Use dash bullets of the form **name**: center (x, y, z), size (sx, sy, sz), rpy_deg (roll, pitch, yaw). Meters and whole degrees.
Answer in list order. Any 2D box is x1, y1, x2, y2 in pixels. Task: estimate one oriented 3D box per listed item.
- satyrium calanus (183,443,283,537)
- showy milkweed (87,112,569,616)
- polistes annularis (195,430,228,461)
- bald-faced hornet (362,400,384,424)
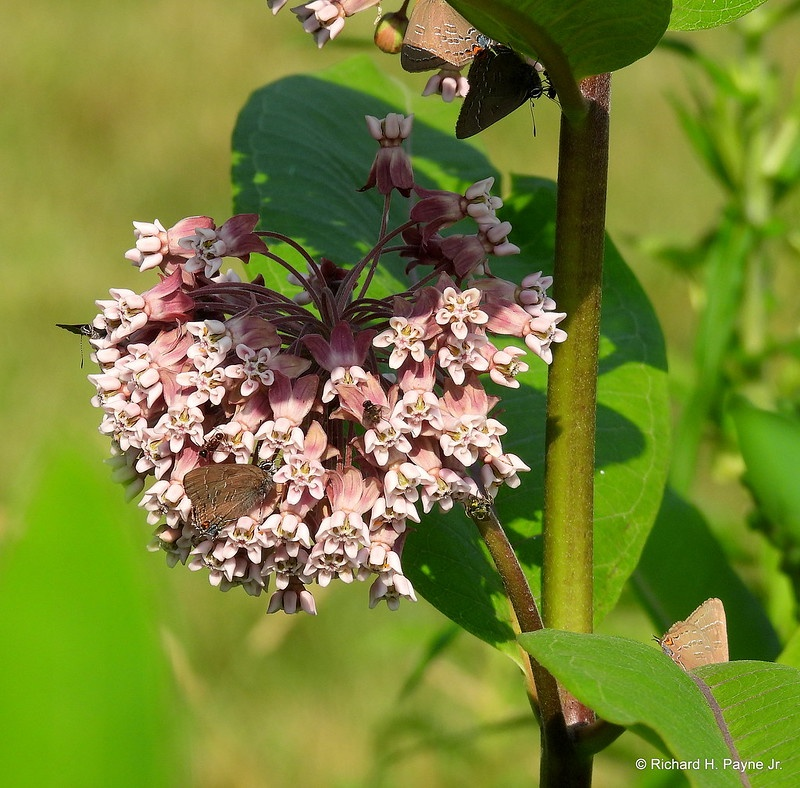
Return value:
- **satyrium calanus**: center (-0.237, 0.138, 1.729), size (0.116, 0.064, 0.094), rpy_deg (-14, -44, 3)
- **showy milkweed**: center (-0.105, 0.006, 1.812), size (0.423, 0.884, 0.466), rpy_deg (-6, -4, 32)
- **polistes annularis**: center (-0.270, 0.073, 1.757), size (0.038, 0.013, 0.048), rpy_deg (33, -43, 1)
- **bald-faced hornet**: center (-0.037, 0.023, 1.706), size (0.039, 0.011, 0.028), rpy_deg (0, -79, 22)
